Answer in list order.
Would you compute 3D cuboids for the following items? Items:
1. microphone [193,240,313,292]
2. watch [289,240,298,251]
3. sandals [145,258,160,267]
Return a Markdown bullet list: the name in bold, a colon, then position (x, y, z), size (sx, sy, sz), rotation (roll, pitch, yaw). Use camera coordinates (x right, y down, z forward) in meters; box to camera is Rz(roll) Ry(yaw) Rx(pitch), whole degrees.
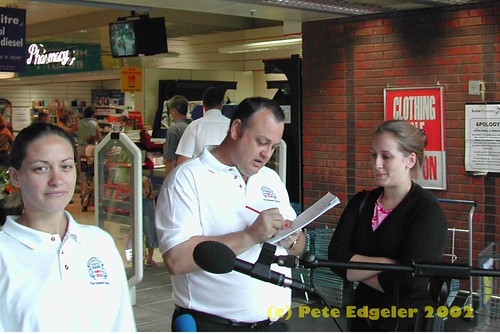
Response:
- **microphone**: position (0.010, 0.330, 1.283), size (0.409, 0.165, 0.088), rotation (1, 3, 0)
- **watch**: position (0.238, 0.449, 2.223), size (0.023, 0.058, 0.045), rotation (38, 8, 30)
- **sandals**: position (-1.592, 1.541, 6.197), size (0.237, 0.084, 0.104), rotation (5, 1, 0)
